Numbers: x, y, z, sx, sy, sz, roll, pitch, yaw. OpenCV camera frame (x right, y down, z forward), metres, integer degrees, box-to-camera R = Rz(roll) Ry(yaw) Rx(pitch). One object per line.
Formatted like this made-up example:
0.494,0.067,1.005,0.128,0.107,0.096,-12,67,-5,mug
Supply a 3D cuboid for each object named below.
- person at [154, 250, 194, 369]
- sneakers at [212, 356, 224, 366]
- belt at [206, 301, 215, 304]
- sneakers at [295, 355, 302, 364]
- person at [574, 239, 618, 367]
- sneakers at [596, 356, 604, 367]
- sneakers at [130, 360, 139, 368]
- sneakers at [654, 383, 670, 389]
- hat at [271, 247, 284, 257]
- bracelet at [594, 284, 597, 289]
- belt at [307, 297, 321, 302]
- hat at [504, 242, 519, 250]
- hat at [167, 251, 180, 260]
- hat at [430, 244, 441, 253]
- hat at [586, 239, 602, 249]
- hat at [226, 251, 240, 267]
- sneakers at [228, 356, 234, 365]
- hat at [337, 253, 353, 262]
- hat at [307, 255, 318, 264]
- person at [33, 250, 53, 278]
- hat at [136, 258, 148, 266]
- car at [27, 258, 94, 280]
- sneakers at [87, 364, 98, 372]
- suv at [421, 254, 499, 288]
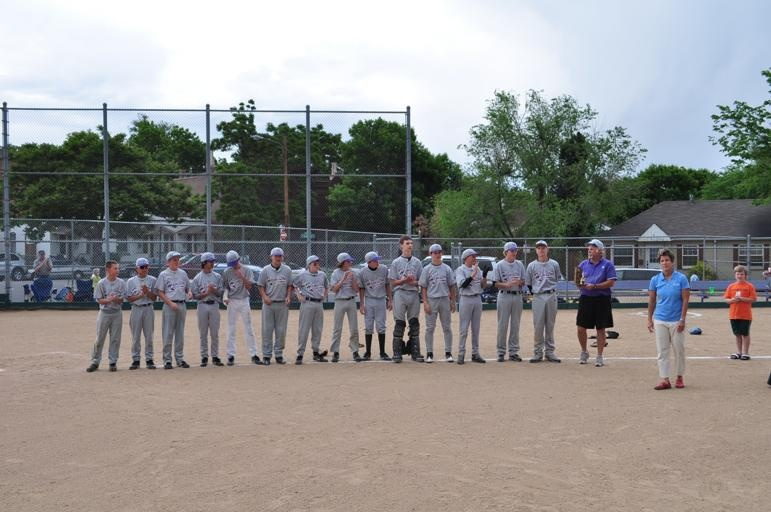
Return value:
-4.753,1.211,21.271,0.714,2.527,0.881,2,11,17,person
-3.784,2.369,21.527,0.250,0.176,0.262,-3,10,-12,sneakers
-3.936,1.043,21.412,0.174,0.089,0.106,1,-2,38,belt
-1.931,2.327,21.576,0.181,0.206,0.313,-2,10,-8,sneakers
4.769,1.040,21.055,0.766,2.731,0.719,1,11,13,person
4.849,2.329,21.004,0.183,0.210,0.527,-2,-8,15,sneakers
-5.601,2.404,21.158,0.224,0.177,0.288,-4,10,-15,sneakers
5.628,2.576,18.929,0.333,0.121,0.113,1,-2,6,sneakers
-2.462,-0.113,21.786,0.238,0.152,0.309,4,-7,-24,hat
4.750,0.669,20.920,0.115,0.087,0.027,0,11,8,bracelet
-1.582,0.989,21.584,0.343,0.120,0.060,-4,11,-18,belt
2.972,-0.220,21.890,0.234,0.147,0.313,1,-2,-16,hat
-4.828,-0.037,21.417,0.297,0.136,0.229,-18,-11,36,hat
1.220,-0.148,21.726,0.261,0.188,0.443,-1,9,3,hat
4.832,-0.277,21.169,0.319,0.116,0.222,10,-7,-43,hat
-3.450,0.074,21.591,0.256,0.337,0.343,-3,10,-9,hat
-3.500,2.355,21.553,0.147,0.195,0.300,-3,10,-11,sneakers
-0.879,0.068,21.970,0.328,0.174,0.225,-14,17,-10,hat
-1.714,0.091,22.087,0.218,0.103,0.305,-6,-4,-43,hat
-12.013,0.265,33.050,0.603,1.002,0.754,-6,11,-23,person
-5.423,0.139,21.088,0.256,0.122,0.170,-15,-8,23,hat
-11.534,0.489,33.682,2.317,0.652,1.014,2,-2,-2,car
-6.455,2.456,20.845,0.234,0.090,0.127,2,-2,36,sneakers
2.845,0.417,32.967,2.209,1.123,1.339,2,-3,-3,suv
